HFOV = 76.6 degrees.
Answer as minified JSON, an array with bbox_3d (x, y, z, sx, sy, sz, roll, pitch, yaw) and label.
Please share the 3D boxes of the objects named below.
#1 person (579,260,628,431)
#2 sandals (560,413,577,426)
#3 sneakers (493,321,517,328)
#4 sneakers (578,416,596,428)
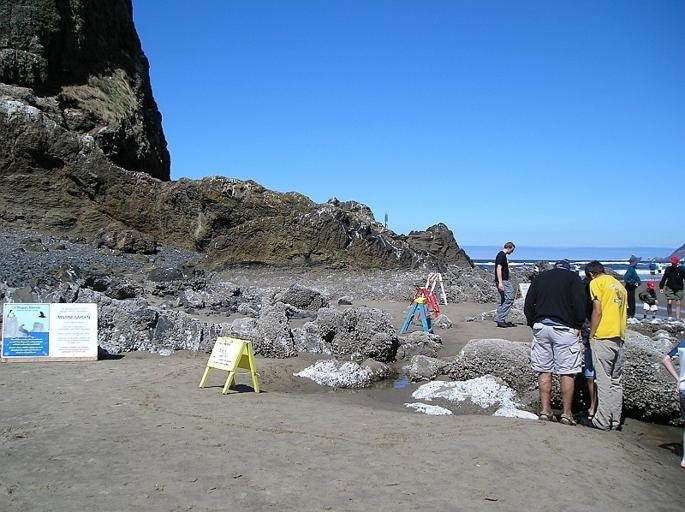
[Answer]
[{"bbox_3d":[3.668,1.244,6.068,0.471,2.337,0.534,-1,-6,32],"label":"person"},{"bbox_3d":[3.083,2.236,5.929,0.126,0.091,0.261,7,3,20],"label":"sandals"},{"bbox_3d":[4.675,1.931,12.380,0.744,0.227,0.214,-2,4,6],"label":"sneakers"},{"bbox_3d":[3.428,2.322,6.118,0.171,0.044,0.146,2,6,8],"label":"sneakers"}]
